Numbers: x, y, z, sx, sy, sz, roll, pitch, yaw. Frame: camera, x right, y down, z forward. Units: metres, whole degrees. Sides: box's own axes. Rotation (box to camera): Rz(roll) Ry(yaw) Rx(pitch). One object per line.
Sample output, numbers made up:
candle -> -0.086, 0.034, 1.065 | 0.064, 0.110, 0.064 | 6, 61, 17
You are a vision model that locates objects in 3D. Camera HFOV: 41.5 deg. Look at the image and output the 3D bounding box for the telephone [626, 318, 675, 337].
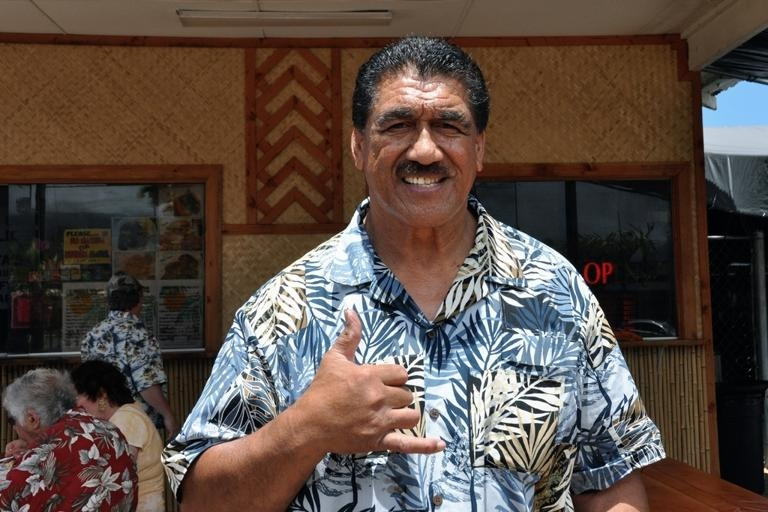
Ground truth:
telephone -> 2.662, 0.715, 10.001 | 0.379, 0.106, 0.204 | 5, 5, 4
